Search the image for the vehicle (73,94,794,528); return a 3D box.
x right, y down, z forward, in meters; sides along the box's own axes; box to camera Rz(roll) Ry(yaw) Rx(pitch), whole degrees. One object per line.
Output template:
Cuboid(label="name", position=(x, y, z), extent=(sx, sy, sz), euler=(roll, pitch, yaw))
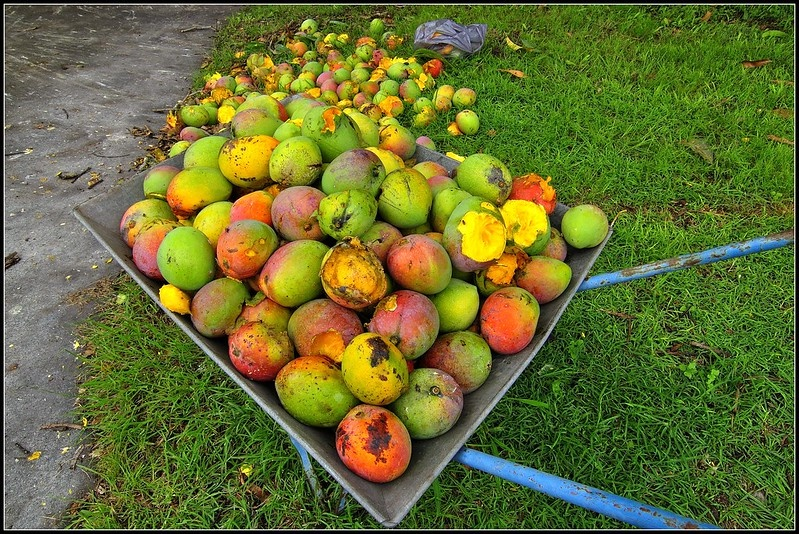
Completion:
Cuboid(label="vehicle", position=(0.998, 0.843, 5.013), extent=(4.431, 2.253, 2.891), euler=(-31, 59, -23))
